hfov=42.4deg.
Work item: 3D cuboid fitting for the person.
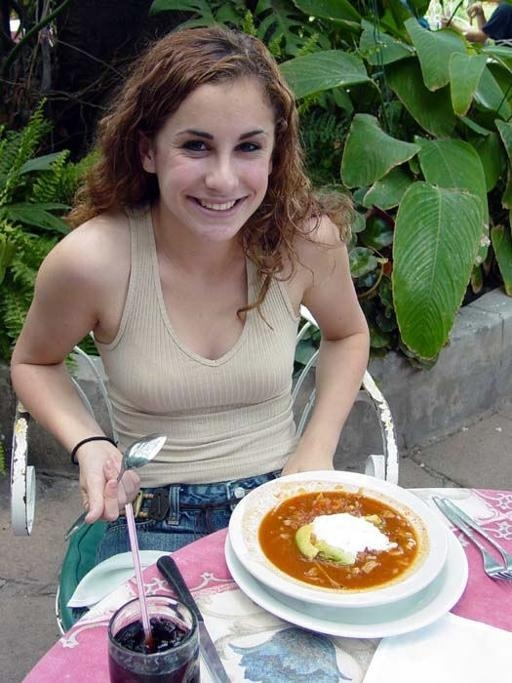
[{"bbox_3d":[-0.159,-0.116,1.899,1.260,1.396,0.917,-3,33,-7],"label":"person"}]

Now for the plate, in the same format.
[{"bbox_3d":[0.142,0.378,1.033,0.393,0.026,0.229,-1,17,0],"label":"plate"}]

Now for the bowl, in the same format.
[{"bbox_3d":[0.137,0.327,1.143,0.385,0.132,0.378,-1,18,0],"label":"bowl"}]

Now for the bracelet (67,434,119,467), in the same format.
[{"bbox_3d":[-0.358,0.238,1.436,0.122,0.099,0.027,1,35,-20],"label":"bracelet"}]

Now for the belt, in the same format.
[{"bbox_3d":[-0.123,0.384,1.719,0.268,0.074,0.319,-2,-4,-27],"label":"belt"}]

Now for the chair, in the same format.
[{"bbox_3d":[-0.122,0.189,2.050,1.117,1.078,0.917,-1,29,-7],"label":"chair"}]
